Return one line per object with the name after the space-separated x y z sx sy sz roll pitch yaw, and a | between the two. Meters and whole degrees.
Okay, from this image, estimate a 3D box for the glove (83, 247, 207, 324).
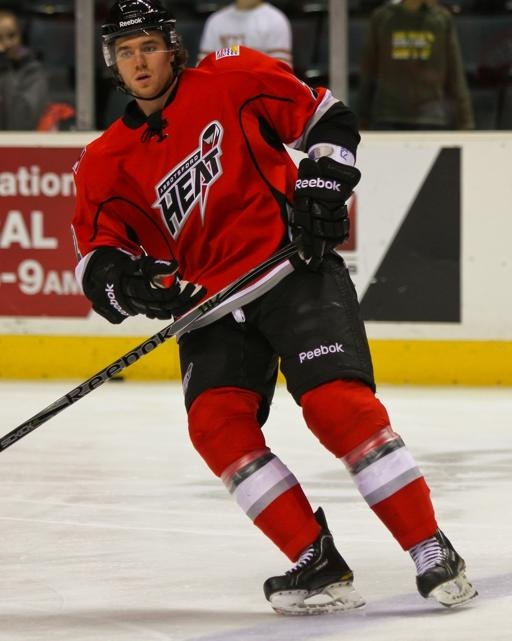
-0.193 -0.067 1.369 0.221 0.116 0.074 6 51 32 | glove

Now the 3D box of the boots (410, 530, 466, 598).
0.287 0.385 1.257 0.048 0.067 0.142 -43 -1 6 | boots

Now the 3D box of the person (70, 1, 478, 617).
0.004 -0.066 1.311 0.720 1.009 0.308 0 8 12 | person

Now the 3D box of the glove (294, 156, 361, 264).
0.112 -0.184 1.296 0.098 0.178 0.127 2 8 22 | glove

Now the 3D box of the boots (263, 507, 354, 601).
0.087 0.392 1.246 0.123 0.154 0.086 -7 9 -39 | boots
